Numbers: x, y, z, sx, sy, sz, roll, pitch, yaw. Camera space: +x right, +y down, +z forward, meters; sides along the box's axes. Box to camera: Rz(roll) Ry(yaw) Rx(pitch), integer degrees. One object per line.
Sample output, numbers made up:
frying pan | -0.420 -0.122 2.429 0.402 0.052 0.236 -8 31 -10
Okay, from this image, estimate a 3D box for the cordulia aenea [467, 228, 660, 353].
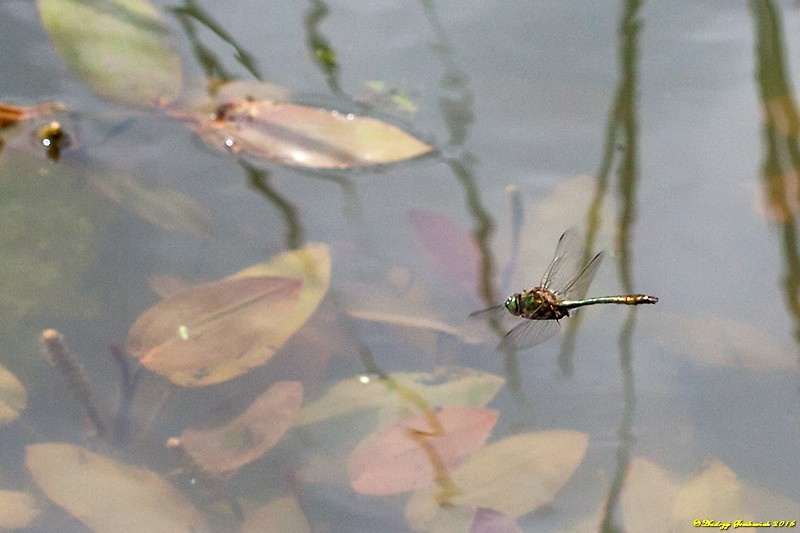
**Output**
cordulia aenea | 0.176 0.036 0.985 0.133 0.112 0.157 26 41 34
